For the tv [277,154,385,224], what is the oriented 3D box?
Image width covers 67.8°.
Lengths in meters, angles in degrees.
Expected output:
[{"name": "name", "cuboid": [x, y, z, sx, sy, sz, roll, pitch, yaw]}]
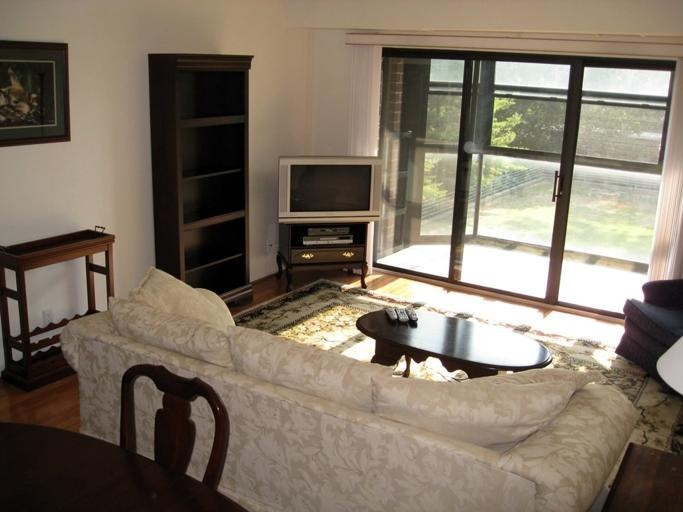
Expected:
[{"name": "tv", "cuboid": [-0.246, -0.740, 5.843, 1.291, 0.765, 0.653, -4, 13, -27]}]

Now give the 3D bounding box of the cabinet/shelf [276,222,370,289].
[{"name": "cabinet/shelf", "cuboid": [-0.194, -0.085, 5.725, 1.166, 0.815, 0.712, -1, 10, -10]}]
